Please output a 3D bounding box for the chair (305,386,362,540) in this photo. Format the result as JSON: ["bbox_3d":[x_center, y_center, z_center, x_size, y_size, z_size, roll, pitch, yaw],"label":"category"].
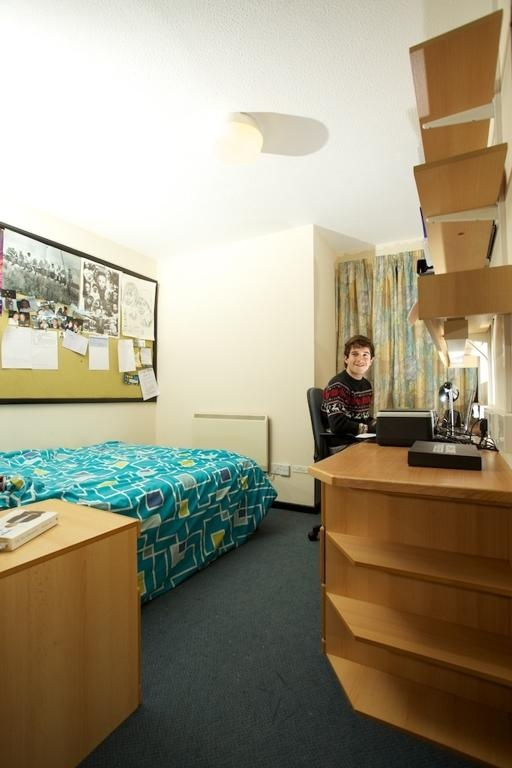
[{"bbox_3d":[0.481,0.274,3.036,0.337,0.643,0.413,-7,29,0],"label":"chair"}]
